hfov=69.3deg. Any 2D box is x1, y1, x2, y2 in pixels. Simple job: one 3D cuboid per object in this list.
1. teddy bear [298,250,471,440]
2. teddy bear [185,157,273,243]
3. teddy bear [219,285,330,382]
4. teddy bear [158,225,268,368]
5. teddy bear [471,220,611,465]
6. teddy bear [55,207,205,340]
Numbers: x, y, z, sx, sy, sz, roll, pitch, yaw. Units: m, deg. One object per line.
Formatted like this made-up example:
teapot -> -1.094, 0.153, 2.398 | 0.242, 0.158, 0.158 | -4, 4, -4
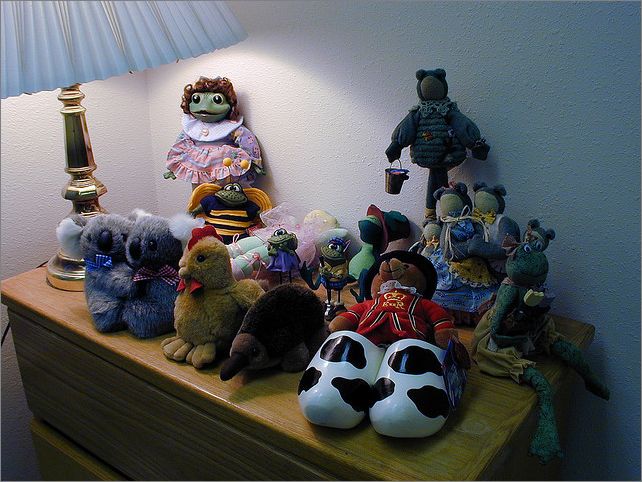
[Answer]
teddy bear -> 0.130, 0.166, 0.820 | 0.262, 0.241, 0.307 | 6, 14, 18
teddy bear -> -0.253, -0.079, 1.280 | 0.235, 0.148, 0.069 | 5, -6, -14
teddy bear -> -0.086, 0.171, 0.917 | 0.219, 0.104, 0.129 | -40, 33, -22
teddy bear -> -0.229, 0.111, 0.942 | 0.183, 0.247, 0.279 | -13, 13, -40
teddy bear -> 0.399, 0.155, 0.848 | 0.260, 0.364, 0.202 | -12, 19, -43
teddy bear -> -0.415, 0.069, 1.052 | 0.391, 0.267, 0.197 | 4, 7, 18
